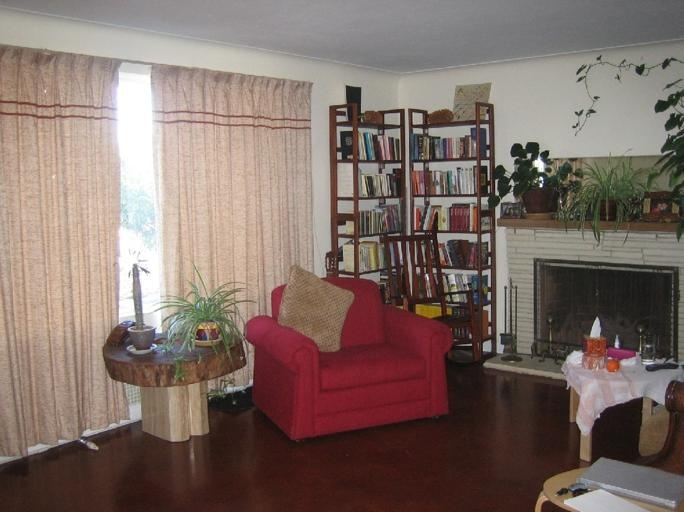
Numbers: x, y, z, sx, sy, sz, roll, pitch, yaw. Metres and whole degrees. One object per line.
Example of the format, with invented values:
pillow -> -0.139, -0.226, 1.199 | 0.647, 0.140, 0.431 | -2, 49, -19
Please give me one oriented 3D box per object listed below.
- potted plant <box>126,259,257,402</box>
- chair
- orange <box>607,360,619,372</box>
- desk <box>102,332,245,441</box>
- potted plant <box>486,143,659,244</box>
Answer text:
potted plant -> -1.103, 0.546, 4.516 | 0.810, 0.697, 1.083 | 3, 3, 27
chair -> 0.041, 0.762, 4.579 | 1.417, 1.078, 1.048 | -2, 5, -24
orange -> 1.854, 0.752, 3.794 | 0.071, 0.089, 0.074 | -5, 14, 17
desk -> -1.241, 0.998, 4.109 | 0.953, 0.715, 0.818 | -9, 18, -39
potted plant -> 2.184, -0.549, 5.300 | 1.220, 0.622, 0.897 | -3, 14, 3
